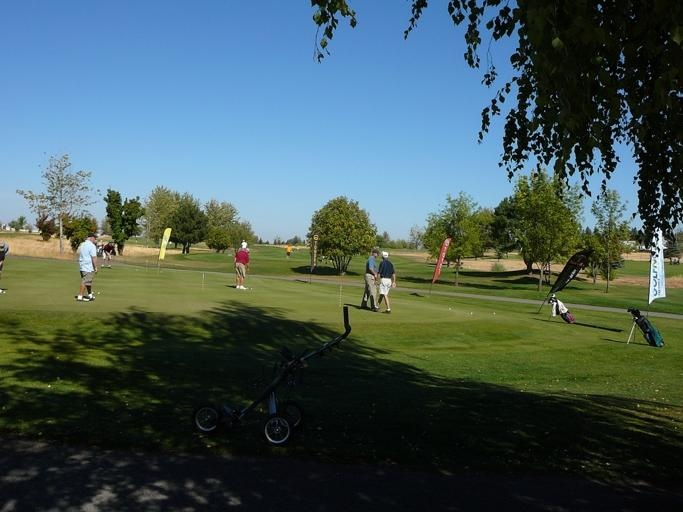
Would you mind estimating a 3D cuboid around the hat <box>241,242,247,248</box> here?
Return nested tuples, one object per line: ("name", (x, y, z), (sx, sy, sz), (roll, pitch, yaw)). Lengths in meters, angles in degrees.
("hat", (-5.140, -0.540, 27.189), (0.344, 0.455, 0.367), (1, 4, 26))

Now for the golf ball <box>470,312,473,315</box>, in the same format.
("golf ball", (5.688, 2.544, 22.508), (0.093, 0.076, 0.115), (-1, -7, 24))
